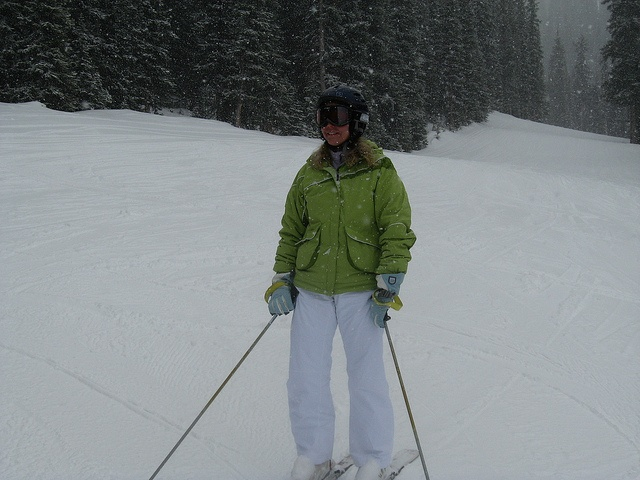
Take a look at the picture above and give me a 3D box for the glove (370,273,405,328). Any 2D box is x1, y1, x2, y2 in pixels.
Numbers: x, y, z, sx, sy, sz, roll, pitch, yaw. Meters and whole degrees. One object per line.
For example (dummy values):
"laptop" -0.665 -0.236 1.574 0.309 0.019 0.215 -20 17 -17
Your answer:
"glove" 0.618 0.563 5.082 0.303 0.537 0.159 2 14 6

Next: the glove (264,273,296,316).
"glove" -0.410 0.540 5.321 0.324 0.401 0.180 -10 -28 33
